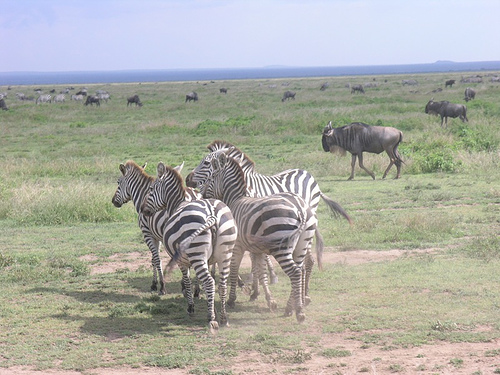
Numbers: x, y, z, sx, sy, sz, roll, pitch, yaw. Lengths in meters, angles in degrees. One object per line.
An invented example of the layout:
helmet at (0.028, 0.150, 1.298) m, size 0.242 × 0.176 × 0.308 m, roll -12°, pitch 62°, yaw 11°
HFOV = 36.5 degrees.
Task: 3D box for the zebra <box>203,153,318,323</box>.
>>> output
zebra at (0.155, 0.846, 14.203) m, size 1.212 × 2.548 × 3.215 m, roll -13°, pitch 18°, yaw -41°

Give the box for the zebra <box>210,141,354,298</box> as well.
zebra at (0.442, 0.907, 14.460) m, size 0.953 × 2.851 × 4.171 m, roll -3°, pitch 7°, yaw -42°

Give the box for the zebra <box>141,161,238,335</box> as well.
zebra at (-1.049, 1.045, 13.827) m, size 0.995 × 3.103 × 1.557 m, roll -2°, pitch 0°, yaw -44°
